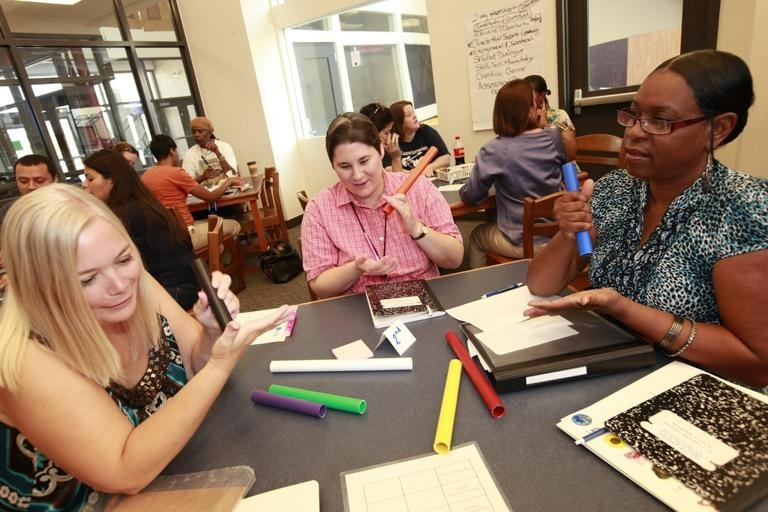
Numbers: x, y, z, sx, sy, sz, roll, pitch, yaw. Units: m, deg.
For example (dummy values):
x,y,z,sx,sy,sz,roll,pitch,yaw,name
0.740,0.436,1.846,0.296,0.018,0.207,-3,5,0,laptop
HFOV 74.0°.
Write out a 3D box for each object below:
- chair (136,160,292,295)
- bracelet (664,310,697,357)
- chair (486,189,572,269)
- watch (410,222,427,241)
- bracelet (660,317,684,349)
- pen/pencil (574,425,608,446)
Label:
x,y,z,sx,sy,sz,roll,pitch,yaw,name
-1.438,-0.529,4.758,1.110,0.826,1.595,-4,25,-4,chair
0.907,0.239,1.556,0.025,0.102,0.092,28,-8,-7,bracelet
0.734,-0.139,2.572,0.259,0.443,0.302,-14,41,-10,chair
0.148,-0.094,2.188,0.067,0.069,0.074,-13,39,-25,watch
0.878,0.236,1.553,0.031,0.083,0.075,31,3,19,bracelet
0.559,0.484,1.377,0.090,0.013,0.016,-24,50,-18,pen/pencil
